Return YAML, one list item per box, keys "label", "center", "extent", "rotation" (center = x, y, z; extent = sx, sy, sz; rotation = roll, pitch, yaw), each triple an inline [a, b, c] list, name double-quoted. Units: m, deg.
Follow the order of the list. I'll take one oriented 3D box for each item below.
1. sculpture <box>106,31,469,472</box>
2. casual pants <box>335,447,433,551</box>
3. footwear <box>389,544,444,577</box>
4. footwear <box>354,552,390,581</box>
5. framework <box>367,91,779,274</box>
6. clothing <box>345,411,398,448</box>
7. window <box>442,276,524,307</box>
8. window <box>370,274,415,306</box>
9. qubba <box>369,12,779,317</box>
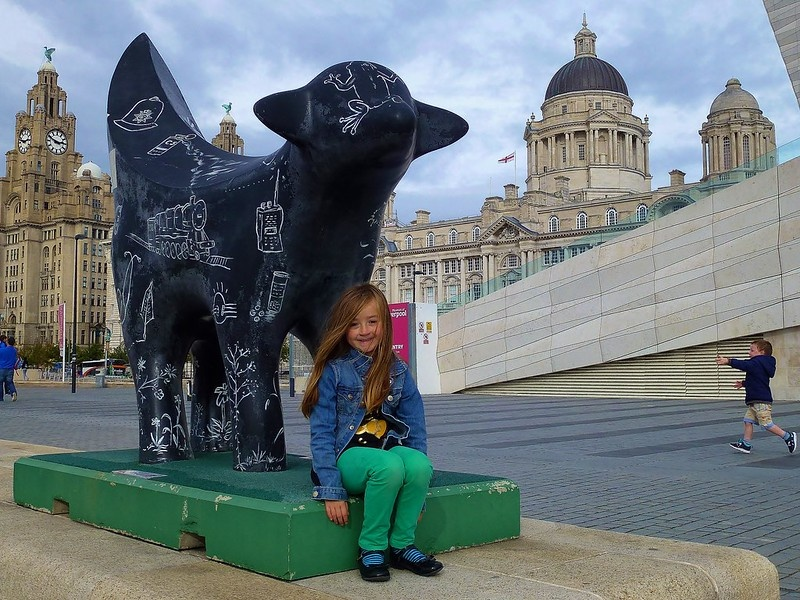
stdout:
- label: "sculpture"
  center: [-1.059, -0.491, 6.956]
  extent: [1.659, 2.853, 3.629]
  rotation: [-4, 8, -40]
- label: "casual pants"
  center: [-0.097, 1.142, 5.614]
  extent: [0.557, 0.581, 0.248]
  rotation: [4, -2, -12]
- label: "footwear"
  center: [0.081, 1.470, 5.514]
  extent: [0.318, 0.124, 0.123]
  rotation: [1, 2, 31]
- label: "footwear"
  center: [-0.145, 1.488, 5.436]
  extent: [0.179, 0.150, 0.132]
  rotation: [3, -2, 1]
- label: "framework"
  center: [8.931, -5.058, 46.032]
  extent: [8.756, 9.650, 16.281]
  rotation: [4, -8, -41]
- label: "clothing"
  center: [-0.170, 0.760, 5.764]
  extent: [0.229, 0.207, 0.092]
  rotation: [10, -9, -18]
- label: "window"
  center: [2.955, -0.464, 35.570]
  extent: [0.371, 0.462, 2.053]
  rotation: [25, -33, -32]
- label: "window"
  center: [-0.128, -1.175, 79.574]
  extent: [2.661, 3.861, 2.993]
  rotation: [-1, 7, 4]
- label: "qubba"
  center: [15.460, -10.808, 79.906]
  extent: [18.725, 21.913, 34.864]
  rotation: [7, -5, -39]
